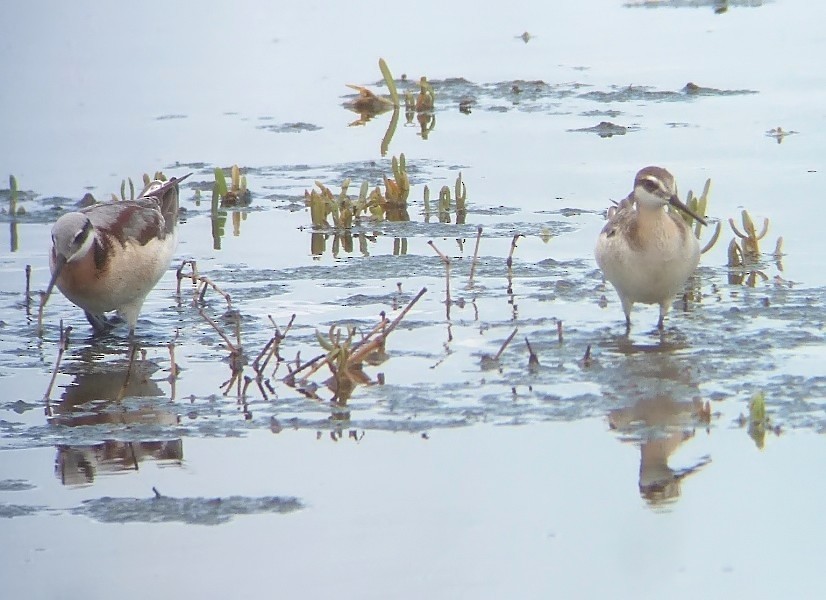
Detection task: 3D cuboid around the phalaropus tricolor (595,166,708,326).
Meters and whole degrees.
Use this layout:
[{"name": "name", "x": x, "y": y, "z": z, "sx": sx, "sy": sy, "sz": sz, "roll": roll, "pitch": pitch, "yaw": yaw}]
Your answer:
[{"name": "phalaropus tricolor", "x": 2.190, "y": -0.472, "z": 10.524, "sx": 0.929, "sy": 1.521, "sz": 0.641, "roll": -1, "pitch": 12, "yaw": 11}]
